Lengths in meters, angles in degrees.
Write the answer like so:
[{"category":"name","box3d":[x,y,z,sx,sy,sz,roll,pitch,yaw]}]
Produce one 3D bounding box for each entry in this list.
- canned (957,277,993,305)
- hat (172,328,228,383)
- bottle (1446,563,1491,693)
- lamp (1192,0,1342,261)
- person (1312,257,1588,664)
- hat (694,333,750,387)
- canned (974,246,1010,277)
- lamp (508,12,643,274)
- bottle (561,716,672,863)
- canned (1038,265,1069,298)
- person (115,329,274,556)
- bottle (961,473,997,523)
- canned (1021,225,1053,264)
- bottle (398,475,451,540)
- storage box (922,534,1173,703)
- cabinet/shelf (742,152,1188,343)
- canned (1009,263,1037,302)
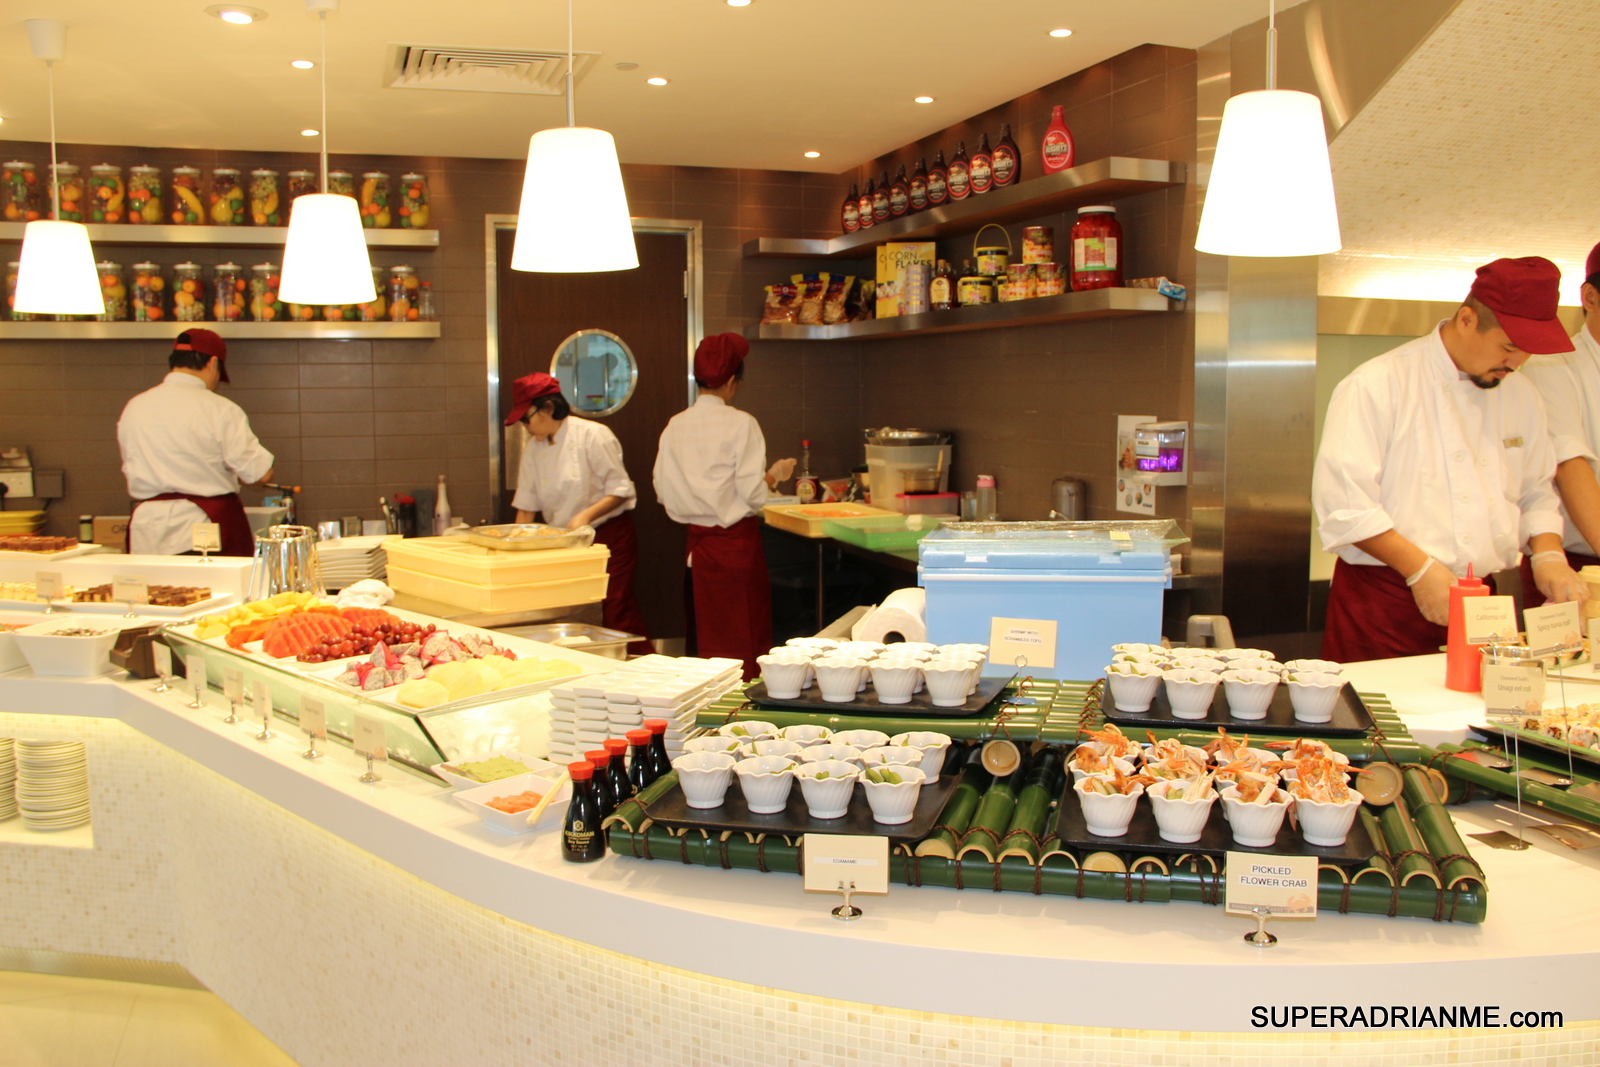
[{"category":"canned","box3d":[0.829,-1.116,5.576,0.162,0.107,0.157,-1,2,1]},{"category":"hat","box3d":[-2.846,-0.855,5.652,0.235,0.150,0.299,8,11,-3]},{"category":"bottle","box3d":[1.734,0.271,3.088,0.081,0.291,0.120,1,6,27]},{"category":"lamp","box3d":[1.065,-0.814,2.704,0.291,0.354,0.133,1,5,22]},{"category":"person","box3d":[1.998,-0.186,3.655,0.769,1.242,0.699,0,5,15]},{"category":"hat","box3d":[-0.383,-0.828,5.720,0.230,0.268,0.216,-1,5,-4]},{"category":"canned","box3d":[0.900,-1.260,5.568,0.169,0.106,0.141,0,2,-6]},{"category":"lamp","box3d":[-0.563,-0.826,2.943,0.293,0.349,0.153,-2,5,-11]},{"category":"bottle","box3d":[-0.371,0.525,2.503,0.170,0.231,0.320,0,5,13]},{"category":"canned","box3d":[1.093,-1.104,5.156,0.120,0.121,0.070,0,5,12]},{"category":"person","box3d":[-2.858,-0.430,5.601,0.610,1.073,0.436,-4,5,-26]},{"category":"bottle","box3d":[0.906,-0.190,5.974,0.176,0.216,0.453,0,5,8]},{"category":"canned","box3d":[1.052,-1.276,5.300,0.195,0.188,0.181,0,1,7]},{"category":"bottle","box3d":[-2.127,-0.156,6.727,0.284,0.332,0.352,-2,5,-15]},{"category":"storage box","box3d":[0.656,0.188,3.367,0.692,0.376,0.492,1,3,7]},{"category":"cabinet/shelf","box3d":[0.648,-1.319,5.867,0.653,0.670,2.734,-4,6,-27]},{"category":"canned","box3d":[0.983,-1.100,5.200,0.105,0.168,0.229,-1,5,1]}]
